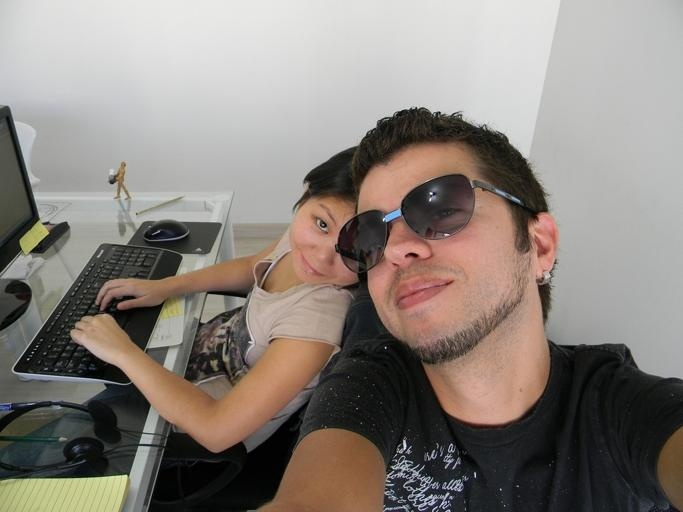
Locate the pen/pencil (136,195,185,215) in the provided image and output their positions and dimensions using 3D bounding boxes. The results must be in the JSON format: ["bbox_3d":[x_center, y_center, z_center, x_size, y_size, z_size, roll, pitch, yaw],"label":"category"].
[{"bbox_3d":[-0.805,-0.220,2.148,0.018,0.018,0.249,18,30,38],"label":"pen/pencil"}]

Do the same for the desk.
[{"bbox_3d":[-0.854,0.468,2.105,0.836,0.699,1.415,0,46,-7],"label":"desk"}]

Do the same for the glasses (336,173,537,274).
[{"bbox_3d":[0.161,-0.085,1.068,0.371,0.102,0.244,-27,-32,34],"label":"glasses"}]

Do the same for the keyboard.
[{"bbox_3d":[-0.748,0.240,1.483,0.329,0.080,0.584,12,34,-5],"label":"keyboard"}]
